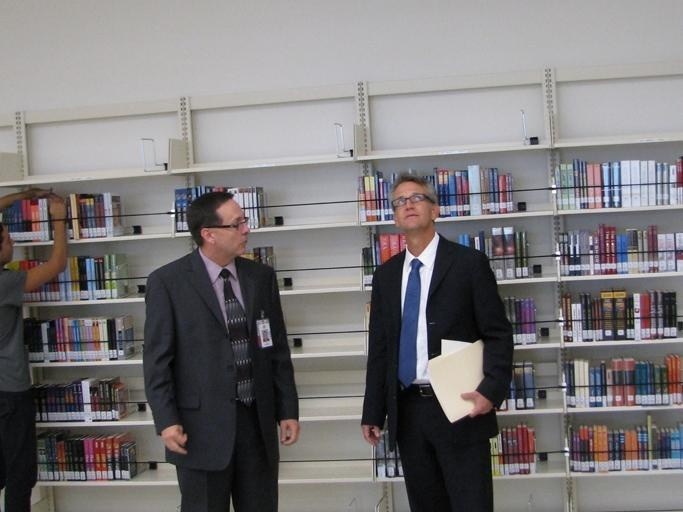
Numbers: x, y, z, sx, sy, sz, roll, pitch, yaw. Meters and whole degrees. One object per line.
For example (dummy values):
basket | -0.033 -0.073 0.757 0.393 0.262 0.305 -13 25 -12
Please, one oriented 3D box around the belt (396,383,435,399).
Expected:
belt | 0.437 0.778 5.105 0.151 0.047 0.108 2 -3 -13
